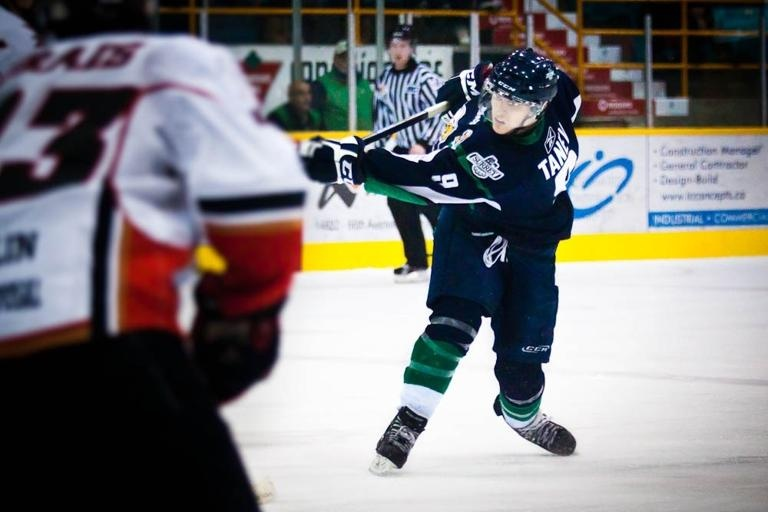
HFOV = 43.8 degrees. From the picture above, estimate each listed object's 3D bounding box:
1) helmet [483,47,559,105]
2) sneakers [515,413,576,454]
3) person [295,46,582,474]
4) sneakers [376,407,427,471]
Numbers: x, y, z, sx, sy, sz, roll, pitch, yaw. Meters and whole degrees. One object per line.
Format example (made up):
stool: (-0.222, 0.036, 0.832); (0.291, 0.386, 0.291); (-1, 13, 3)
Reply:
helmet: (0.468, -0.597, 3.186); (0.195, 0.186, 0.332); (5, 11, 30)
sneakers: (0.572, 0.607, 3.434); (0.255, 0.112, 0.087); (22, 66, 46)
person: (0.317, 0.005, 3.247); (0.785, 1.377, 0.404); (-1, 9, -5)
sneakers: (0.076, 0.591, 3.225); (0.095, 0.121, 0.292); (37, 35, -5)
